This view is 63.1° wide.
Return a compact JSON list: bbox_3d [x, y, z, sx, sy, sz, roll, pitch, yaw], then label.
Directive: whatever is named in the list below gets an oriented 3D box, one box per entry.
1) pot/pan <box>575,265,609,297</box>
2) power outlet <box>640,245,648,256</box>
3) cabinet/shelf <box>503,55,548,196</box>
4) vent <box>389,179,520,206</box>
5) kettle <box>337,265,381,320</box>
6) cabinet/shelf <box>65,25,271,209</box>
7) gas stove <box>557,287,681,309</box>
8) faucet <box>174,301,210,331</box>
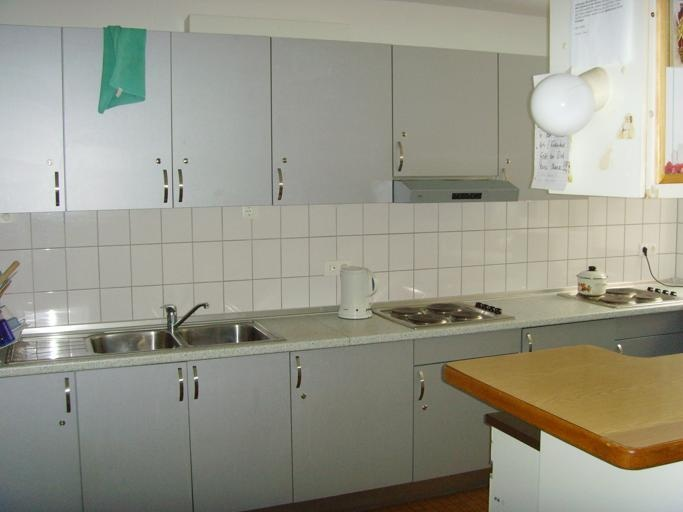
[{"bbox_3d":[1.623,0.153,3.693,0.188,0.193,0.186,-8,14,-26],"label":"pot/pan"},{"bbox_3d":[2.227,-0.039,4.093,0.046,0.066,0.023,1,2,-4],"label":"power outlet"},{"bbox_3d":[1.088,-0.763,3.299,0.320,0.849,0.090,-3,3,-21],"label":"cabinet/shelf"},{"bbox_3d":[0.678,-0.383,3.162,0.743,0.146,0.282,-4,3,-28],"label":"vent"},{"bbox_3d":[0.104,0.202,3.349,0.271,0.325,0.259,9,12,44],"label":"kettle"},{"bbox_3d":[-0.879,-0.685,2.737,0.881,0.789,0.347,-1,7,-11],"label":"cabinet/shelf"},{"bbox_3d":[1.851,0.262,3.642,0.700,0.055,0.563,-3,3,-15],"label":"gas stove"},{"bbox_3d":[-0.811,0.323,3.034,0.191,0.142,0.257,-3,3,-13],"label":"faucet"}]
